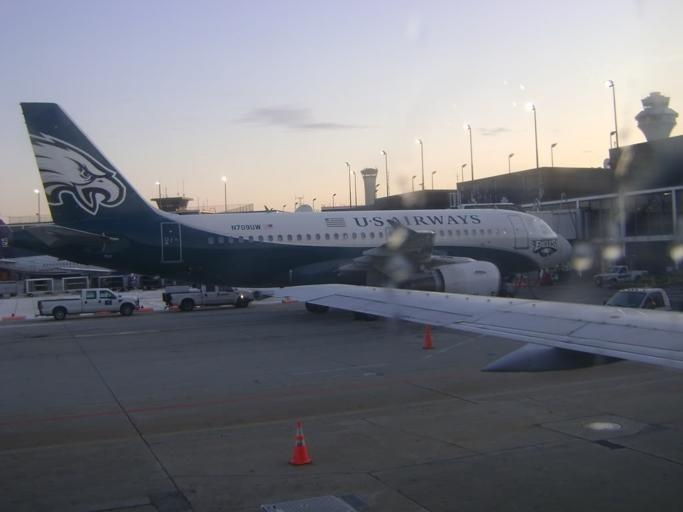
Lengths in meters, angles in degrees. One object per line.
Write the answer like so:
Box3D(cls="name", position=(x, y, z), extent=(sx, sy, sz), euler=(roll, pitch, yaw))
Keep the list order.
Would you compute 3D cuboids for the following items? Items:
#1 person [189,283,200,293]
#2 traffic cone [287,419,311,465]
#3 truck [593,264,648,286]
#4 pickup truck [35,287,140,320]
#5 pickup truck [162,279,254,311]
Box3D(cls="person", position=(-7.587, 1.652, 32.110), extent=(0.864, 0.203, 0.749), euler=(-2, 9, -9))
Box3D(cls="traffic cone", position=(-0.683, 2.950, 10.066), extent=(0.344, 0.610, 0.623), euler=(-2, 5, -4))
Box3D(cls="truck", position=(16.836, 1.228, 37.841), extent=(3.420, 1.163, 1.402), euler=(-1, 0, -23))
Box3D(cls="pickup truck", position=(-11.596, 2.180, 28.502), extent=(3.855, 1.046, 1.686), euler=(-1, 3, -24))
Box3D(cls="pickup truck", position=(-6.663, 2.024, 30.524), extent=(2.937, 0.831, 1.855), euler=(-2, 3, -21))
